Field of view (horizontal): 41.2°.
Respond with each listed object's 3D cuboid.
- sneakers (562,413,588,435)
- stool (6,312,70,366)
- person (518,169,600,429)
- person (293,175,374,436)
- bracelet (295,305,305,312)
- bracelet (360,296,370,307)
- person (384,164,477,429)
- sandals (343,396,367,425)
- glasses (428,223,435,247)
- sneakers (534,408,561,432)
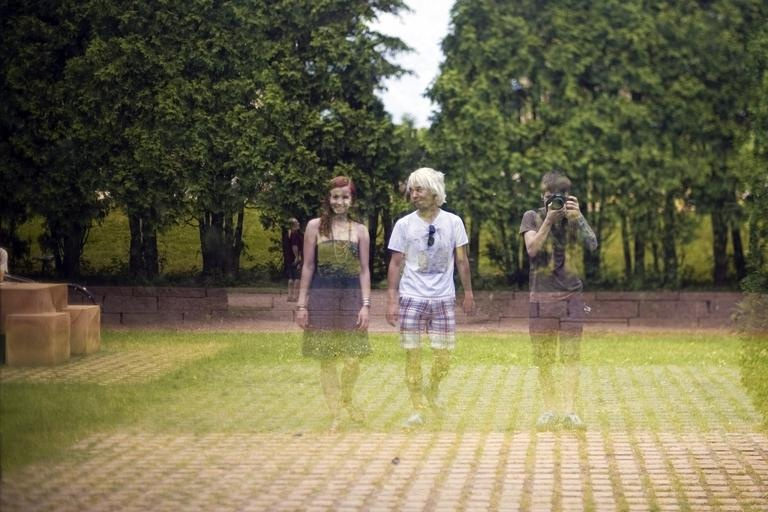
[{"bbox_3d":[1.837,1.623,9.939,0.159,0.087,0.202,5,4,-11],"label":"sneakers"},{"bbox_3d":[-3.910,0.926,11.708,0.595,0.582,0.594,0,-1,1],"label":"stool"},{"bbox_3d":[1.678,0.422,9.924,0.674,2.439,0.720,-1,-3,10],"label":"person"},{"bbox_3d":[-0.483,0.463,9.725,0.672,2.369,0.520,0,-3,-2],"label":"person"},{"bbox_3d":[-0.786,0.489,9.607,0.088,0.058,0.091,1,-5,-8],"label":"bracelet"},{"bbox_3d":[-0.174,0.430,9.557,0.078,0.060,0.080,-1,-2,42],"label":"bracelet"},{"bbox_3d":[0.412,0.327,9.602,0.778,2.238,0.660,0,-3,0],"label":"person"},{"bbox_3d":[-0.303,1.536,10.058,0.066,0.249,0.260,-32,-20,32],"label":"sandals"},{"bbox_3d":[0.427,-0.184,9.311,0.075,0.192,0.032,0,-3,1],"label":"glasses"},{"bbox_3d":[1.596,1.599,9.972,0.185,0.187,0.108,-5,-41,-2],"label":"sneakers"}]
